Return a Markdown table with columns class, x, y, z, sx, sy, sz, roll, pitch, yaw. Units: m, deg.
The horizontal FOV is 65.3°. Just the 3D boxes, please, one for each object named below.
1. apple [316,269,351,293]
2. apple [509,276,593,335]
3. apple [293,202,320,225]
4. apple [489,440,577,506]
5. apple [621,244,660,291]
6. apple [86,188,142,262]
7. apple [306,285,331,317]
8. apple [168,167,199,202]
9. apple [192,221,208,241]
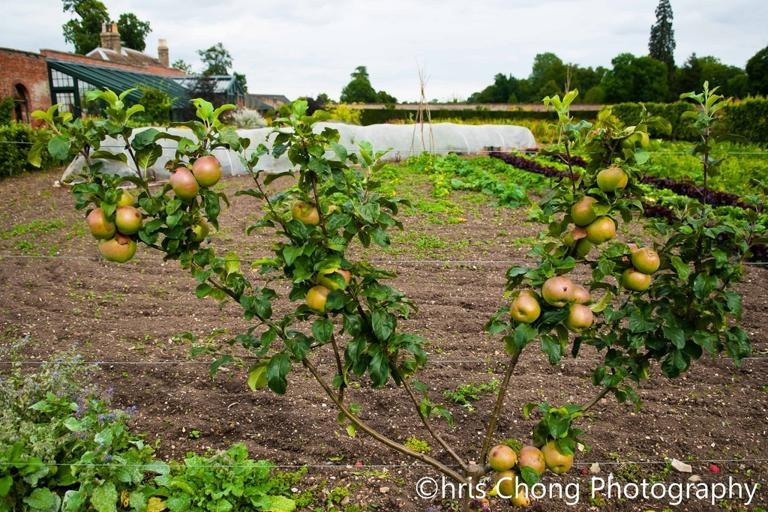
| class | x | y | z | sx | sy | sz | roll | pitch | yaw |
| --- | --- | --- | --- | --- | --- | --- | --- | --- | --- |
| apple | -0.285 | 0.140 | 3.338 | 0.151 | 0.112 | 0.046 | -13 | 31 | 17 |
| apple | 0.937 | 0.300 | 3.405 | 0.378 | 0.339 | 0.140 | -3 | -30 | 0 |
| apple | -0.464 | -0.254 | 3.475 | 0.082 | 0.137 | 0.140 | -48 | 23 | 3 |
| apple | 0.805 | 1.231 | 3.513 | 0.461 | 0.413 | 0.215 | -7 | 3 | -7 |
| apple | 1.463 | 0.069 | 3.443 | 0.190 | 0.254 | 0.185 | 19 | 18 | -3 |
| apple | -1.540 | -0.171 | 3.446 | 0.286 | 0.406 | 0.169 | -6 | 13 | -21 |
| apple | -0.376 | 0.241 | 3.366 | 0.159 | 0.167 | 0.147 | 0 | 2 | 9 |
| apple | -1.144 | -0.413 | 3.434 | 0.155 | 0.189 | 0.154 | -5 | 13 | -17 |
| apple | -1.070 | -0.149 | 3.551 | 0.100 | 0.104 | 0.098 | 1 | 33 | -30 |
